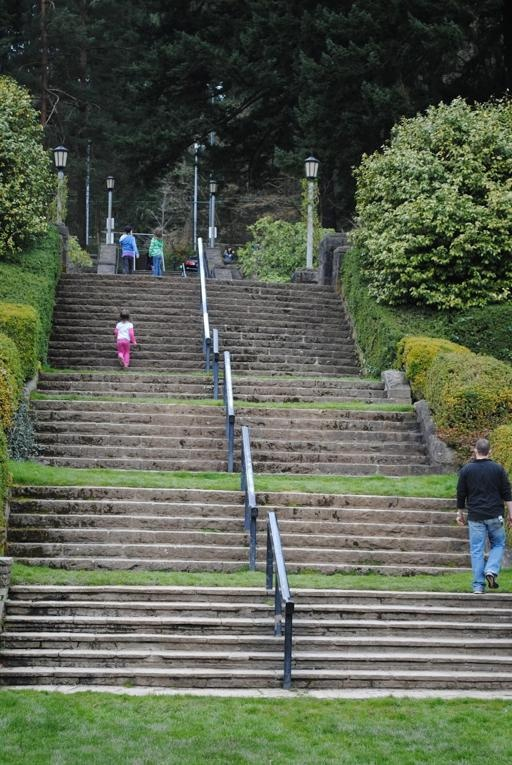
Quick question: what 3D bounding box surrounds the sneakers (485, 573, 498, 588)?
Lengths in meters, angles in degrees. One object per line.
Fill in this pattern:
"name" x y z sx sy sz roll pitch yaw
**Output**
"sneakers" 2.444 2.072 14.000 0.078 0.090 0.207 -2 -33 17
